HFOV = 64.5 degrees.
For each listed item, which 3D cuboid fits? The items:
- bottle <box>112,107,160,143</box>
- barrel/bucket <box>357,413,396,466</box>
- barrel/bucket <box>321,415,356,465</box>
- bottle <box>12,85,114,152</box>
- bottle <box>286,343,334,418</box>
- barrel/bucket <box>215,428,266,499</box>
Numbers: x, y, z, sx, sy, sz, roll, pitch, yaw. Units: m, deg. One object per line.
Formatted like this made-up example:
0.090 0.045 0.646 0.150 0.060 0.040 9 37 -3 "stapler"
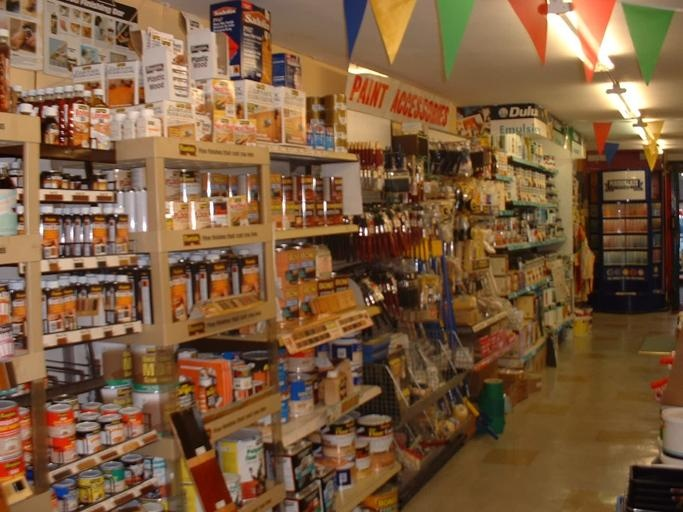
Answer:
-0.853 -0.545 2.282 0.194 0.167 0.094 -1 0 -17 "bottle"
0.290 1.305 3.971 0.320 0.308 0.297 -1 5 0 "barrel/bucket"
-0.021 1.251 3.711 0.266 0.260 0.253 0 -1 0 "barrel/bucket"
-1.105 -0.531 2.152 0.318 0.228 0.329 1 3 0 "bottle"
-0.140 0.745 3.288 0.361 0.359 0.348 -1 -1 18 "bottle"
-0.483 1.047 2.842 0.299 0.301 0.287 -5 -2 0 "barrel/bucket"
